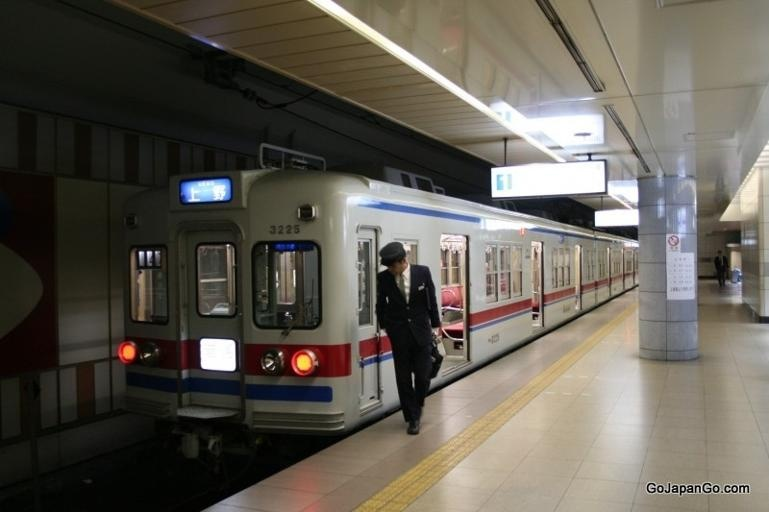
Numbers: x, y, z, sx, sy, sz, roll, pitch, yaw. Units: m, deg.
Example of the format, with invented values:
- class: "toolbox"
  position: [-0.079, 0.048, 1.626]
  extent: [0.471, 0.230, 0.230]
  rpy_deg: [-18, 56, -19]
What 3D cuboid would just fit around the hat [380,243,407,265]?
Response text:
- class: "hat"
  position: [0.134, -0.034, 6.940]
  extent: [0.274, 0.168, 0.306]
  rpy_deg: [8, 47, 31]
